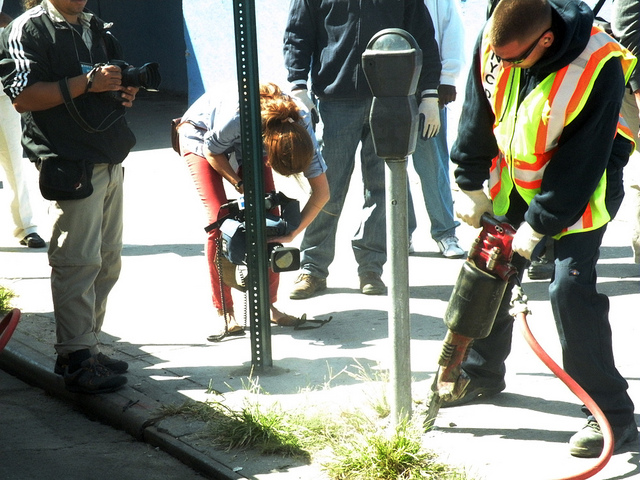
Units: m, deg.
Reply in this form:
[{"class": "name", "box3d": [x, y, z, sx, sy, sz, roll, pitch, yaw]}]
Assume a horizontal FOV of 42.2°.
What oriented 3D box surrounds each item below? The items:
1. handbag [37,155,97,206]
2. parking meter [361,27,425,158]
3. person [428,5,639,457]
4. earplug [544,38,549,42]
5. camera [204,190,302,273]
[{"class": "handbag", "box3d": [-1.380, -0.336, 4.565, 0.316, 0.280, 0.179, -3, 15, -19]}, {"class": "parking meter", "box3d": [0.329, -0.700, 3.919, 0.269, 0.608, 0.174, 3, 14, 7]}, {"class": "person", "box3d": [1.389, -0.137, 4.444, 1.126, 2.144, 1.588, 13, 18, 38]}, {"class": "earplug", "box3d": [1.035, -0.931, 3.809, 0.021, 0.014, 0.005, -2, 14, -14]}, {"class": "camera", "box3d": [-0.328, -0.089, 5.020, 0.577, 0.484, 0.547, -13, 26, -29]}]
